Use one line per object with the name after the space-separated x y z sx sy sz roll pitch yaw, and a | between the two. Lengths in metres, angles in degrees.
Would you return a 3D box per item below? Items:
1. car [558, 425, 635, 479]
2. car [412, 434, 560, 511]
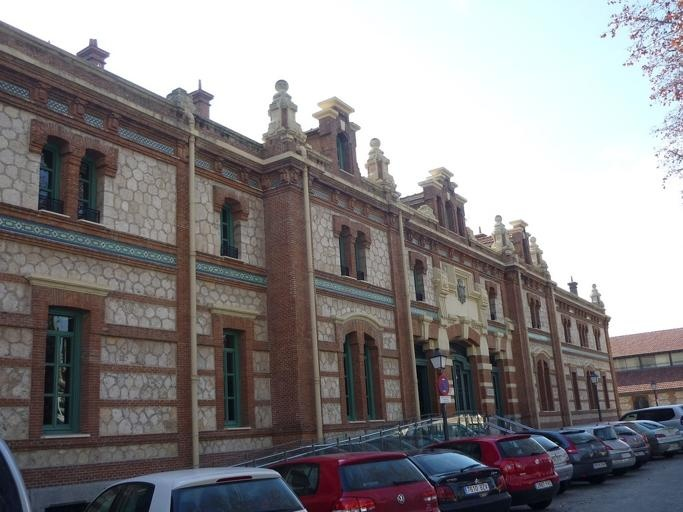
8.200 6.465 19.919 1.607 1.320 2.856 6 -9 -36 | car
3.398 5.083 14.026 1.658 1.198 2.982 9 -12 -41 | car
